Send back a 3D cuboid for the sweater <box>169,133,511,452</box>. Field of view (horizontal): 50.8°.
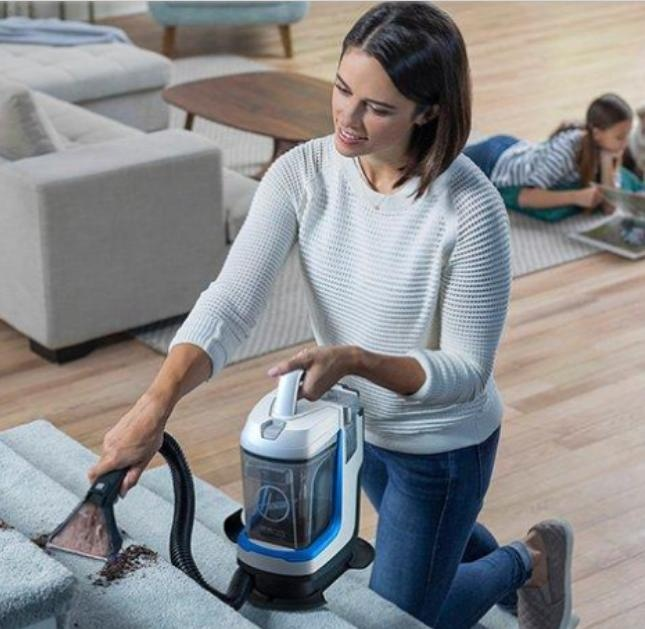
[{"bbox_3d":[0.090,-0.064,1.113,0.434,0.393,0.580,19,28,38],"label":"sweater"}]

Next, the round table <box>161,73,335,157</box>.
[{"bbox_3d":[-0.289,-1.131,3.661,0.849,0.186,0.757,31,47,29],"label":"round table"}]
